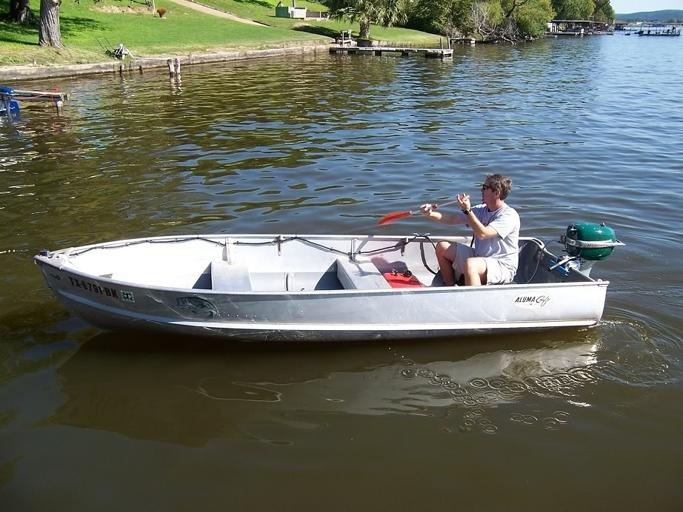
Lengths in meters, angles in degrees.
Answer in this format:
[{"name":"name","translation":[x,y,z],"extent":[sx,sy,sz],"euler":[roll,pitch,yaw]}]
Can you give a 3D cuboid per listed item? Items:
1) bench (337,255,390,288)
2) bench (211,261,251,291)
[{"name":"bench","translation":[0.322,0.274,8.507],"extent":[0.563,0.161,0.912],"euler":[-7,21,-21]},{"name":"bench","translation":[-1.523,0.296,8.256],"extent":[0.608,0.105,0.448],"euler":[1,29,-19]}]
